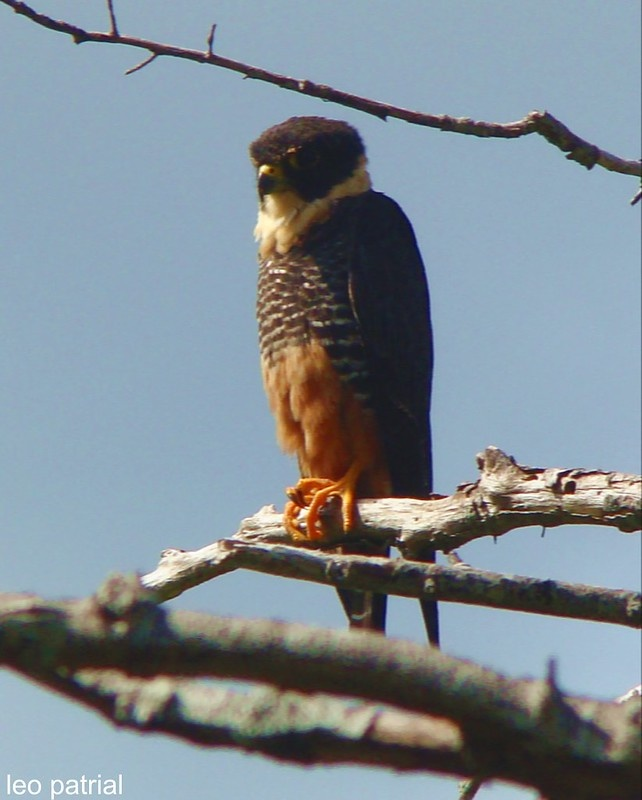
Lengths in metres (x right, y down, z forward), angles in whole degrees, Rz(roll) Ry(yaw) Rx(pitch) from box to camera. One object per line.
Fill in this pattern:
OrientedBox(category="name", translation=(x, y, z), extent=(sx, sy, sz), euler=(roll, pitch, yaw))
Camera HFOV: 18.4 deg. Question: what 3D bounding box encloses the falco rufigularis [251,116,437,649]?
OrientedBox(category="falco rufigularis", translation=(0.068, -0.233, 6.067), extent=(0.569, 1.435, 0.545), euler=(0, -18, -2))
